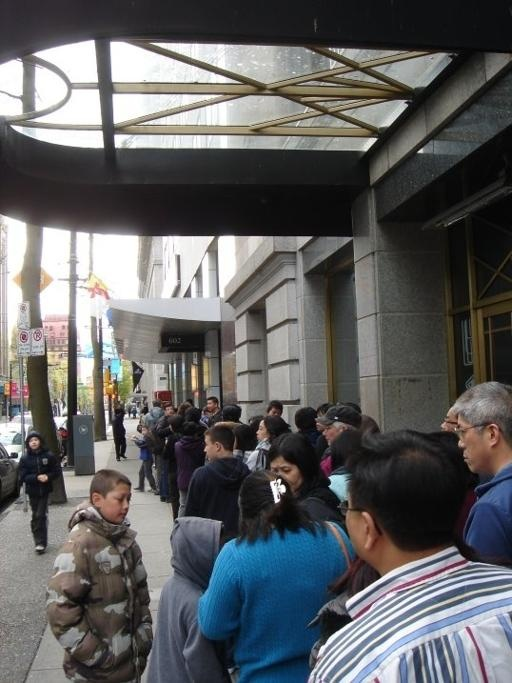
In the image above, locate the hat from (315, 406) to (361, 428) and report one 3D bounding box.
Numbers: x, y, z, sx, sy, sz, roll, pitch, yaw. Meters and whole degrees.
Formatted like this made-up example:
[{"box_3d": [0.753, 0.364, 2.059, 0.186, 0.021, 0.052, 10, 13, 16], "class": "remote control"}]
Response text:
[{"box_3d": [0.684, 0.613, 4.850, 0.266, 0.138, 0.188, 7, -5, 11], "class": "hat"}]
